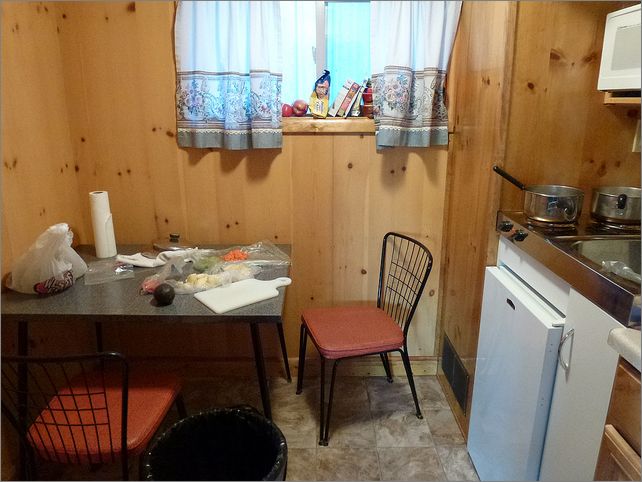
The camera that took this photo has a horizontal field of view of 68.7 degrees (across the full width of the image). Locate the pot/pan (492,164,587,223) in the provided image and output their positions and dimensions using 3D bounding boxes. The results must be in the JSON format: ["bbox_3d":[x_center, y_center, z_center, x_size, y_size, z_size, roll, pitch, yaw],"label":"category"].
[{"bbox_3d":[0.899,-0.223,2.006,0.385,0.177,0.217,9,17,33],"label":"pot/pan"}]

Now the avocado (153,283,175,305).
[{"bbox_3d":[-0.654,0.227,2.015,0.080,0.099,0.085,-4,54,6],"label":"avocado"}]

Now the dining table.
[{"bbox_3d":[-0.810,0.378,2.343,1.048,0.835,0.869,0,12,-2],"label":"dining table"}]

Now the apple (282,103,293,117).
[{"bbox_3d":[-0.186,-0.727,2.610,0.059,0.061,0.063,-1,46,0],"label":"apple"}]

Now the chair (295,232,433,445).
[{"bbox_3d":[0.210,0.462,2.529,0.647,0.985,0.640,2,16,3],"label":"chair"}]

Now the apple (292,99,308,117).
[{"bbox_3d":[-0.112,-0.730,2.611,0.077,0.086,0.088,-3,62,5],"label":"apple"}]
